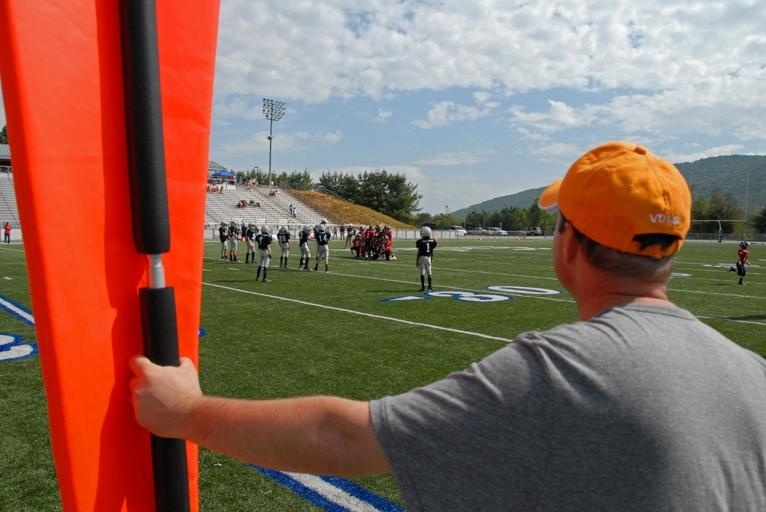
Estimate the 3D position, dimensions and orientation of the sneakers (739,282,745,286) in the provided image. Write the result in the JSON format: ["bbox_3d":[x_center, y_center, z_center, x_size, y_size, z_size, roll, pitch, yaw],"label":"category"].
[{"bbox_3d":[9.372,0.724,13.464,0.150,0.096,0.048,-12,15,-16],"label":"sneakers"}]

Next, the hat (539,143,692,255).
[{"bbox_3d":[0.627,-0.137,1.357,0.237,0.165,0.295,0,25,-14],"label":"hat"}]

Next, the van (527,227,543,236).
[{"bbox_3d":[20.889,-3.528,70.162,2.548,1.191,1.531,1,1,-19],"label":"van"}]

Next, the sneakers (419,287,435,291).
[{"bbox_3d":[0.954,0.754,11.562,0.274,0.100,0.095,-3,-1,32],"label":"sneakers"}]
